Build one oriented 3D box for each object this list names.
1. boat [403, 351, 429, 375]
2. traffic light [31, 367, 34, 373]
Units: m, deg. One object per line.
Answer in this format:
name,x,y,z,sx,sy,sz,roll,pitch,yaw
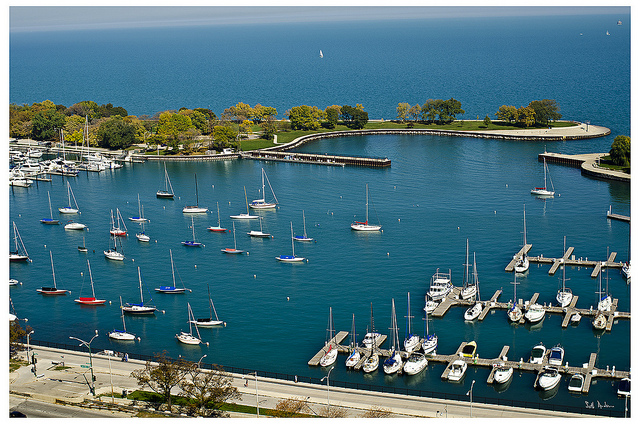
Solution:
boat,16.384,26.207,150.422,2.279,2.914,4.429,4,6,39
traffic light,-48.115,26.526,147.075,0.614,0.541,0.145,2,6,28
